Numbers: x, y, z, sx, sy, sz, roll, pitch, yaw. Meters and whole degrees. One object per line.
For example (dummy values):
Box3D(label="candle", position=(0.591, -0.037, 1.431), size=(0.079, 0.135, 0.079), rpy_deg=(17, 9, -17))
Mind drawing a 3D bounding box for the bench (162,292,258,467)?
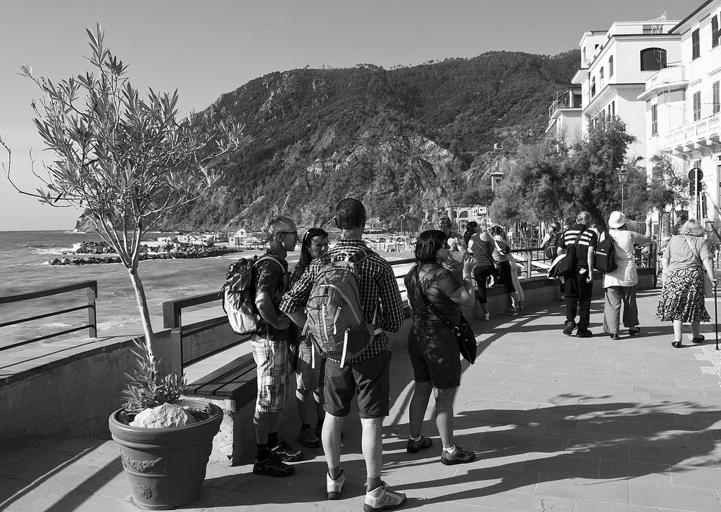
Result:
Box3D(label="bench", position=(-1.587, 1.289, 5.613), size=(0.300, 0.780, 1.705), rpy_deg=(-5, 3, -1))

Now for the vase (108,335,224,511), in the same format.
Box3D(label="vase", position=(-1.561, 1.484, 5.017), size=(1.058, 1.633, 1.085), rpy_deg=(1, 1, 43))

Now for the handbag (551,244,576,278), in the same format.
Box3D(label="handbag", position=(3.790, 0.119, 9.887), size=(0.178, 0.513, 0.479), rpy_deg=(5, 9, -4))

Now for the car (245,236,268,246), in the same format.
Box3D(label="car", position=(-24.110, -3.392, 121.392), size=(3.718, 1.509, 3.895), rpy_deg=(-1, 9, -21))

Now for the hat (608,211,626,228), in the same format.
Box3D(label="hat", position=(4.675, -0.657, 9.728), size=(0.243, 0.307, 0.494), rpy_deg=(2, 6, 28))

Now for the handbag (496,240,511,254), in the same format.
Box3D(label="handbag", position=(3.212, -0.231, 12.056), size=(0.244, 0.134, 0.332), rpy_deg=(31, 0, -24))

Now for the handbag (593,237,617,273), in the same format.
Box3D(label="handbag", position=(4.303, -0.029, 9.377), size=(0.247, 0.709, 0.492), rpy_deg=(3, -9, -29))

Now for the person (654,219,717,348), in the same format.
Box3D(label="person", position=(5.418, 0.468, 8.911), size=(0.799, 2.188, 1.374), rpy_deg=(2, 5, 32))

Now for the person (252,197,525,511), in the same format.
Box3D(label="person", position=(0.164, 0.787, 4.886), size=(1.525, 2.621, 0.890), rpy_deg=(-5, 6, -42))
